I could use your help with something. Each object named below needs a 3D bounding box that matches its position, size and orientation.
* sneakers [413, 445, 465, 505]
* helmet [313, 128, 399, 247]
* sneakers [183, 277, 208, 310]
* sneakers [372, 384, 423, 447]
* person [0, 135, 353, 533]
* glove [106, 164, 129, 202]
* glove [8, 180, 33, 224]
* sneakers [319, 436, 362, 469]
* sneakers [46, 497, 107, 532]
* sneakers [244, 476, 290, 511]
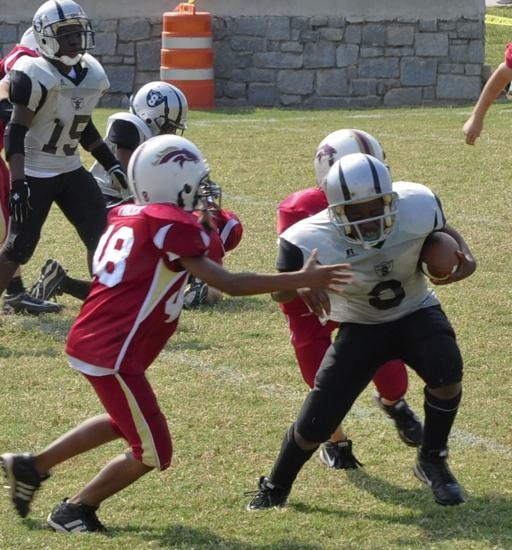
[{"bbox_3d":[0.675,0.740,2.758,0.105,0.101,0.248,-10,23,-12],"label":"sneakers"},{"bbox_3d":[0.345,-0.366,2.783,0.322,0.274,0.495,-14,52,-2],"label":"helmet"},{"bbox_3d":[-0.401,0.112,4.887,0.113,0.106,0.273,10,31,24],"label":"sneakers"},{"bbox_3d":[0.643,0.611,3.255,0.104,0.130,0.281,-43,71,-5],"label":"sneakers"},{"bbox_3d":[-0.344,0.183,2.531,1.028,1.299,0.472,0,14,-11],"label":"person"},{"bbox_3d":[-0.849,-0.605,4.843,0.153,0.187,0.057,30,64,29],"label":"glove"},{"bbox_3d":[-1.318,-0.411,4.172,0.171,0.201,0.067,1,11,0],"label":"glove"},{"bbox_3d":[0.341,0.723,3.020,0.093,0.067,0.201,-3,5,-24],"label":"sneakers"},{"bbox_3d":[-0.595,0.795,2.450,0.194,0.098,0.087,5,12,15],"label":"sneakers"},{"bbox_3d":[0.048,0.797,2.695,0.242,0.067,0.071,2,9,-14],"label":"sneakers"}]
